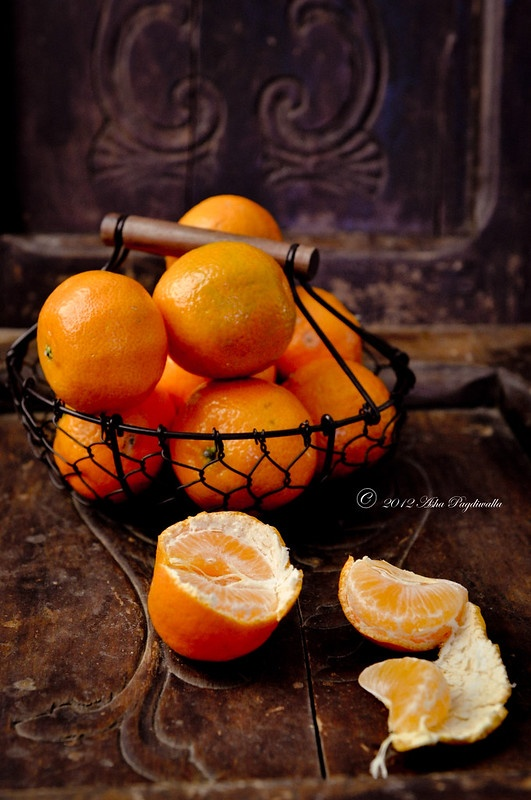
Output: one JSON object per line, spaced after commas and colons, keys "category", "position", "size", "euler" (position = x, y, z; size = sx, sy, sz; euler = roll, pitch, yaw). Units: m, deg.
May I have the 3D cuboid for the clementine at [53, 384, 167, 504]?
{"category": "clementine", "position": [-0.127, 0.040, 0.651], "size": [0.091, 0.095, 0.086], "euler": [-12, -13, 26]}

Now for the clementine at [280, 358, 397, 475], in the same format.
{"category": "clementine", "position": [0.052, 0.003, 0.672], "size": [0.093, 0.098, 0.089], "euler": [14, 5, -19]}

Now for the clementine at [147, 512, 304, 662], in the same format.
{"category": "clementine", "position": [-0.028, 0.116, 0.501], "size": [0.090, 0.052, 0.096], "euler": [-1, 28, -8]}

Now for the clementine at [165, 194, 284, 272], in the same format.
{"category": "clementine", "position": [-0.037, -0.139, 0.731], "size": [0.080, 0.072, 0.084], "euler": [-1, 59, -7]}

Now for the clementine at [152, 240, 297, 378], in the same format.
{"category": "clementine", "position": [-0.032, -0.073, 0.606], "size": [0.110, 0.102, 0.109], "euler": [-13, 5, -41]}

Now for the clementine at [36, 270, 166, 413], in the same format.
{"category": "clementine", "position": [-0.119, -0.039, 0.575], "size": [0.095, 0.100, 0.092], "euler": [18, 24, 31]}
